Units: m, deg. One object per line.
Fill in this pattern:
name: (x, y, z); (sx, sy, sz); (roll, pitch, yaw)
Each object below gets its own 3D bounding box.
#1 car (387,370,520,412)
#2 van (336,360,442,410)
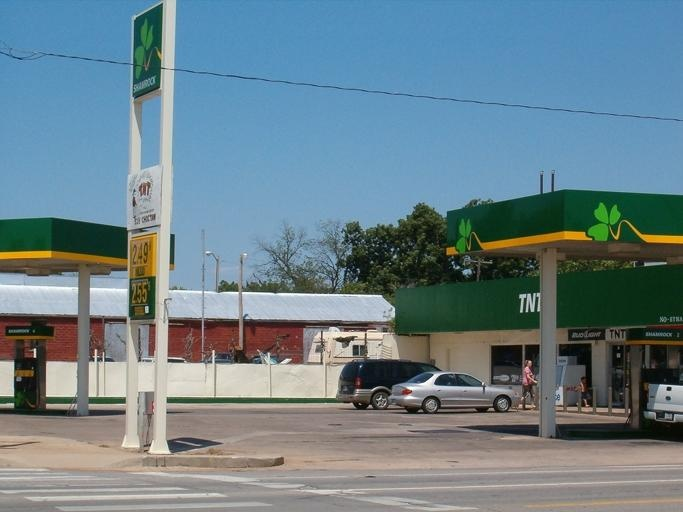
car: (4.178, 4.915, 48.562); (3.970, 1.697, 3.867); (3, -8, -27)
van: (1.651, 5.222, 52.405); (3.681, 1.913, 3.982); (3, -8, -29)
